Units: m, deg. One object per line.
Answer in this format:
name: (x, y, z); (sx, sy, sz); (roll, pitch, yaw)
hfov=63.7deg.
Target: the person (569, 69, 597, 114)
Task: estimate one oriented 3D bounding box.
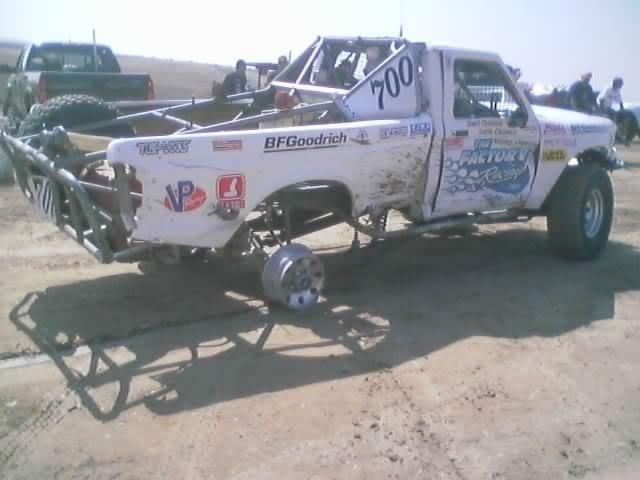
person: (6.183, -3.351, 12.029); (0.468, 1.088, 0.554); (19, -20, -35)
